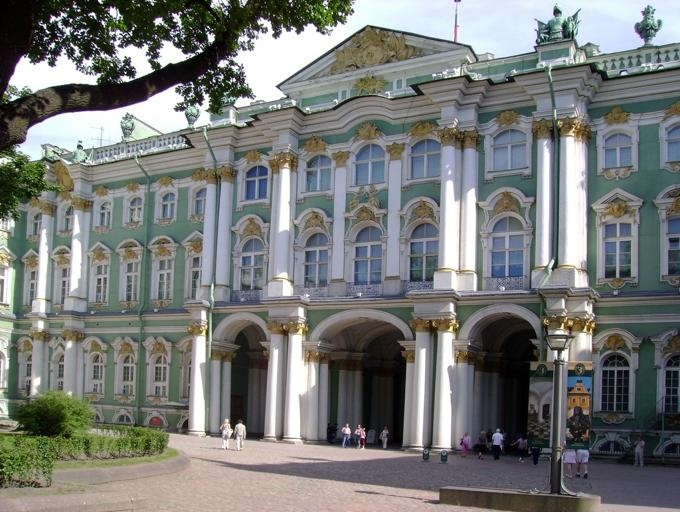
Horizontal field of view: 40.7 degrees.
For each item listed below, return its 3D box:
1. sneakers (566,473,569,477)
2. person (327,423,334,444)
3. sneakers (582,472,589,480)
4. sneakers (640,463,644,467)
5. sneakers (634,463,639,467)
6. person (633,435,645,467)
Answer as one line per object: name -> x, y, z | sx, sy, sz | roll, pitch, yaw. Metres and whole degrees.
sneakers -> 7.785, 7.425, 31.120 | 0.130, 0.137, 0.153 | 6, -10, -6
person -> -0.398, 8.074, 41.609 | 0.337, 0.798, 0.724 | 1, -12, -1
sneakers -> 8.298, 7.367, 30.837 | 0.102, 0.297, 0.126 | 6, 20, 7
sneakers -> 11.498, 7.897, 34.766 | 0.122, 0.156, 0.096 | 15, -33, -22
sneakers -> 11.292, 7.917, 34.874 | 0.096, 0.155, 0.093 | 5, -17, -2
person -> 11.477, 7.462, 35.034 | 0.413, 1.073, 1.240 | -3, -12, 17
